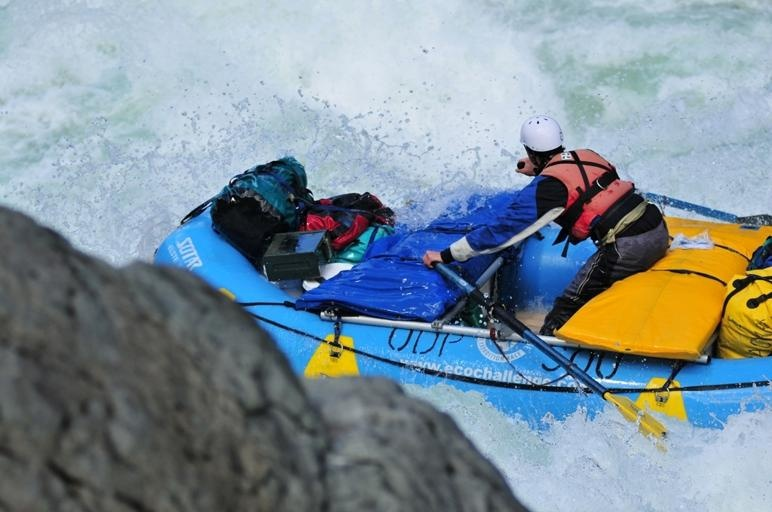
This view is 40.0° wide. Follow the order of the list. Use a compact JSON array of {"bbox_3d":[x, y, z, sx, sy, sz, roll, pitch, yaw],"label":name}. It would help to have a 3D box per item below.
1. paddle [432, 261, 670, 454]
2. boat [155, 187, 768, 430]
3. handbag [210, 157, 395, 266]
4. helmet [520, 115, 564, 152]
[{"bbox_3d":[1.542,0.993,9.746,2.933,0.270,0.262,35,69,32],"label":"paddle"},{"bbox_3d":[1.189,0.764,10.046,4.597,0.840,2.664,8,34,19],"label":"boat"},{"bbox_3d":[-0.918,-0.476,11.078,1.493,0.718,1.188,14,36,13],"label":"handbag"},{"bbox_3d":[1.534,-1.204,10.456,0.311,0.325,0.384,-34,47,-22],"label":"helmet"}]
